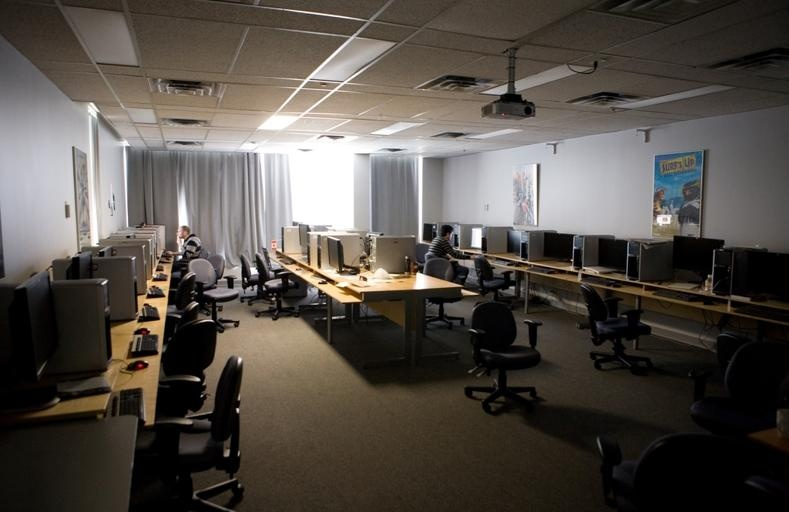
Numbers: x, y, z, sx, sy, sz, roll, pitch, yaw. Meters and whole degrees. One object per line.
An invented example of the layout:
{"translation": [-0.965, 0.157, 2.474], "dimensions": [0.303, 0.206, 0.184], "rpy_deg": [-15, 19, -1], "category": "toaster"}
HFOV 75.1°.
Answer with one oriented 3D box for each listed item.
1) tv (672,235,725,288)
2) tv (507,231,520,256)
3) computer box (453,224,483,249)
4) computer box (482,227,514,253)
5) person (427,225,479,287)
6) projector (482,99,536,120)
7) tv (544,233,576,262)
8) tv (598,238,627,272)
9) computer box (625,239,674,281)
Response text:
{"translation": [3.847, 0.050, 6.469], "dimensions": [0.289, 0.653, 0.712], "rpy_deg": [0, 1, -35], "category": "tv"}
{"translation": [2.201, -0.257, 9.468], "dimensions": [0.258, 0.467, 0.477], "rpy_deg": [0, 3, 5], "category": "tv"}
{"translation": [1.500, -0.403, 10.401], "dimensions": [0.488, 0.582, 0.870], "rpy_deg": [1, -2, -18], "category": "computer box"}
{"translation": [1.905, -0.317, 9.802], "dimensions": [0.544, 0.493, 0.502], "rpy_deg": [-2, 8, -14], "category": "computer box"}
{"translation": [0.905, 0.056, 9.012], "dimensions": [0.776, 1.134, 0.627], "rpy_deg": [6, 0, -28], "category": "person"}
{"translation": [1.102, -1.435, 4.973], "dimensions": [0.470, 0.174, 0.201], "rpy_deg": [-1, 6, -4], "category": "projector"}
{"translation": [2.715, -0.159, 8.381], "dimensions": [0.153, 0.343, 0.507], "rpy_deg": [2, -1, -27], "category": "tv"}
{"translation": [3.148, -0.047, 7.577], "dimensions": [0.477, 0.400, 0.332], "rpy_deg": [3, -2, -14], "category": "tv"}
{"translation": [3.478, 0.041, 7.123], "dimensions": [0.649, 0.484, 0.630], "rpy_deg": [0, 6, 8], "category": "computer box"}
